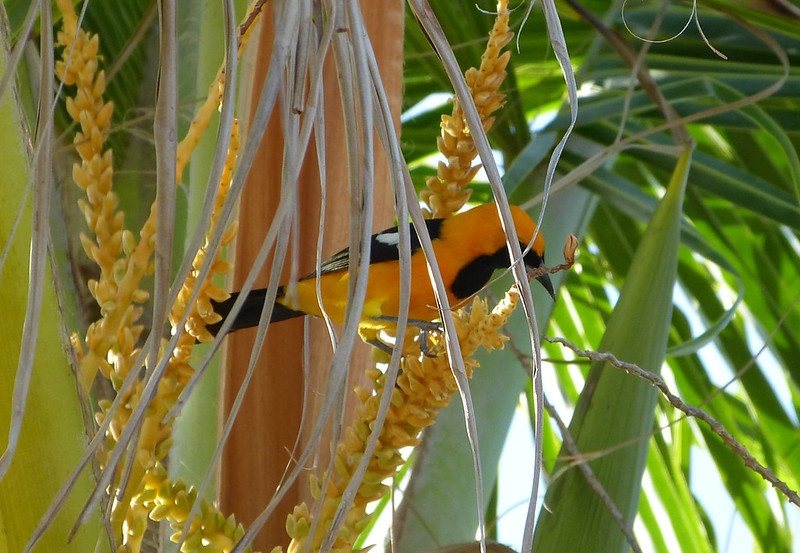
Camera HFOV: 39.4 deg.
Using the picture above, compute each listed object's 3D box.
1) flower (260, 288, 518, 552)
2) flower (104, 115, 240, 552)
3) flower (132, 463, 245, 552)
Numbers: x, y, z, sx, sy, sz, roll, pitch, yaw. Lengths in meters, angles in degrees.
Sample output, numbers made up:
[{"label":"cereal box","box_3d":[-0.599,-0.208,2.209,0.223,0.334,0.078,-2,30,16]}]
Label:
[{"label":"flower","box_3d":[-0.043,0.246,1.930,0.110,0.523,0.153,32,-22,7]},{"label":"flower","box_3d":[-0.365,0.120,1.816,0.091,0.795,0.133,11,-16,10]},{"label":"flower","box_3d":[-0.332,0.389,1.775,0.194,0.118,0.099,16,-37,-12]}]
